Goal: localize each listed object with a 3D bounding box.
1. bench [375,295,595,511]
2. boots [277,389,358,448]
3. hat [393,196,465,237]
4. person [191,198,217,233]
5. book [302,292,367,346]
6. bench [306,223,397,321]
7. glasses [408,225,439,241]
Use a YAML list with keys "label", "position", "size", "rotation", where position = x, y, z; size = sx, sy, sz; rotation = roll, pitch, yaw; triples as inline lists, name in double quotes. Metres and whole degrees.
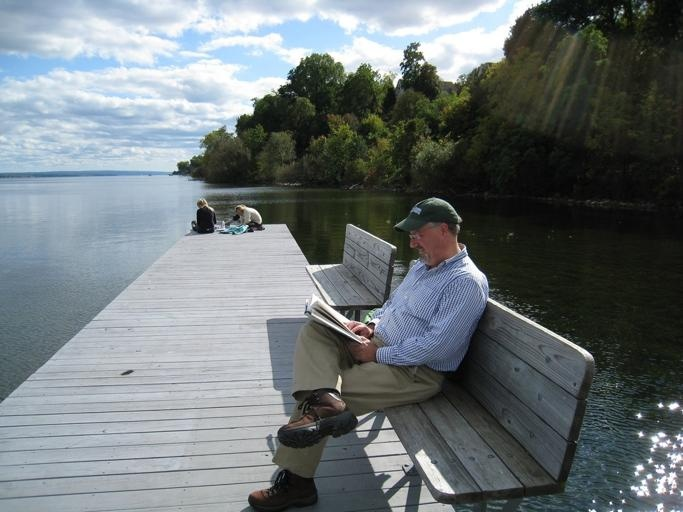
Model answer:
- label: "bench"
  position: [0.728, 0.762, 2.614]
  size: [0.651, 0.845, 0.995]
  rotation: [1, 12, -13]
- label: "boots"
  position: [-0.137, 1.008, 2.762]
  size: [0.434, 0.361, 0.274]
  rotation: [5, 12, 4]
- label: "hat"
  position: [0.614, -0.291, 3.235]
  size: [0.392, 0.191, 0.237]
  rotation: [2, 5, -1]
- label: "person"
  position: [-4.084, -1.169, 13.695]
  size: [0.632, 1.055, 1.000]
  rotation: [0, 12, -17]
- label: "book"
  position: [-0.048, 0.457, 3.194]
  size: [0.368, 0.129, 0.361]
  rotation: [34, -3, -20]
- label: "bench"
  position: [-0.032, 0.283, 5.829]
  size: [0.727, 1.217, 2.143]
  rotation: [2, 11, -13]
- label: "glasses"
  position: [0.566, -0.172, 3.189]
  size: [0.159, 0.052, 0.110]
  rotation: [-30, 6, -2]
